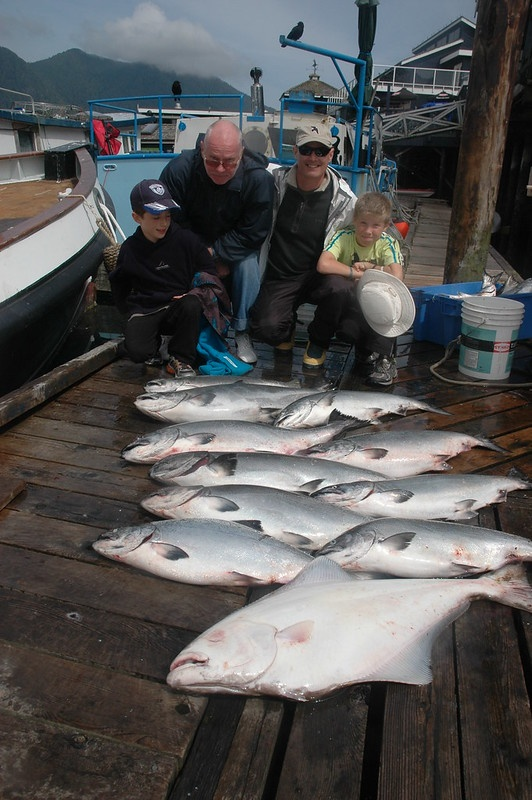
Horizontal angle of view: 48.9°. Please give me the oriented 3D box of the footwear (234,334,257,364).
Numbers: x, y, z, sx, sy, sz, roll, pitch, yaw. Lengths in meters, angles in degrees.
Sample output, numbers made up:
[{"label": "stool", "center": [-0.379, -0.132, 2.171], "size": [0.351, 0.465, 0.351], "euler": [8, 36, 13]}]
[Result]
[{"label": "footwear", "center": [-0.146, -0.347, 4.039], "size": [0.098, 0.107, 0.276], "euler": [-12, 30, -13]}]

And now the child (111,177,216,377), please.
[{"label": "child", "center": [-0.697, -0.765, 3.710], "size": [0.694, 1.168, 0.537], "euler": [3, 21, 1]}]

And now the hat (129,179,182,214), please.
[{"label": "hat", "center": [-0.698, -1.211, 3.576], "size": [0.297, 0.150, 0.189], "euler": [25, 53, 34]}]

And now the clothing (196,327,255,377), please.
[{"label": "clothing", "center": [-0.292, -0.302, 3.864], "size": [0.398, 0.135, 0.298], "euler": [10, 54, -1]}]

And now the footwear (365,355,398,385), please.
[{"label": "footwear", "center": [0.734, -0.185, 3.713], "size": [0.196, 0.160, 0.219], "euler": [6, 20, 8]}]

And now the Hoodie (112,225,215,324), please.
[{"label": "Hoodie", "center": [-0.700, -0.868, 3.896], "size": [0.713, 0.586, 0.367], "euler": [-4, 27, -4]}]

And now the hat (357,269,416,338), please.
[{"label": "hat", "center": [0.727, -0.584, 3.554], "size": [0.371, 0.400, 0.112], "euler": [27, 46, 28]}]

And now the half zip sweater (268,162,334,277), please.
[{"label": "half zip sweater", "center": [0.192, -1.231, 4.214], "size": [0.464, 0.729, 0.711], "euler": [12, 14, 6]}]

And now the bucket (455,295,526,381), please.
[{"label": "bucket", "center": [1.401, -0.394, 3.772], "size": [0.315, 0.503, 0.424], "euler": [0, 20, -7]}]

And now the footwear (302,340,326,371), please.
[{"label": "footwear", "center": [0.317, -0.283, 3.941], "size": [0.089, 0.104, 0.252], "euler": [7, 24, 9]}]

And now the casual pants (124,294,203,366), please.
[{"label": "casual pants", "center": [-0.727, -0.427, 4.080], "size": [0.549, 0.479, 0.668], "euler": [1, 0, -14]}]

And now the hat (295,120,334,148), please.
[{"label": "hat", "center": [0.304, -1.663, 3.707], "size": [0.200, 0.106, 0.296], "euler": [1, 27, 1]}]

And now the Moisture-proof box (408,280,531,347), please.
[{"label": "Moisture-proof box", "center": [1.555, -0.710, 4.501], "size": [0.801, 0.340, 0.575], "euler": [-17, 34, -28]}]
